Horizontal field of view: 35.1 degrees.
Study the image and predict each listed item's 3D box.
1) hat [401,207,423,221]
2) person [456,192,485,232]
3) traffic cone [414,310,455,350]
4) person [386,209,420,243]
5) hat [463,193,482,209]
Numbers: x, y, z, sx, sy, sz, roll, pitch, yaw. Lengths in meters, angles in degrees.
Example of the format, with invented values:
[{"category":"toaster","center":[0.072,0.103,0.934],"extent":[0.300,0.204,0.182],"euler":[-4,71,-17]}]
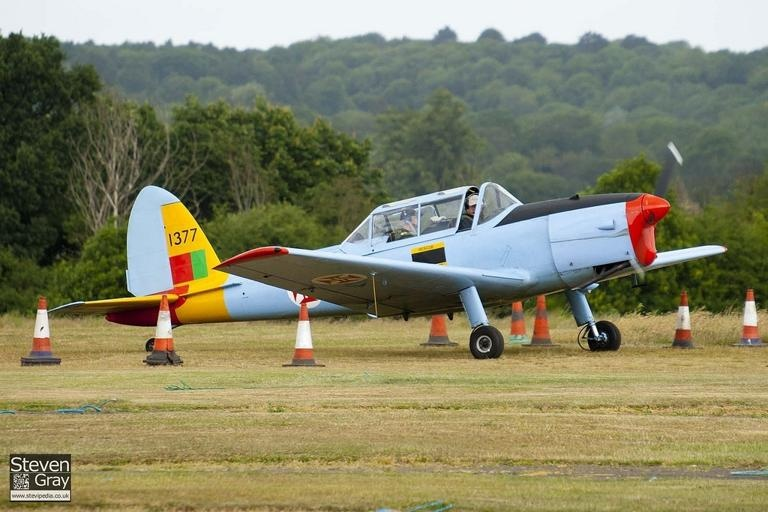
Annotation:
[{"category":"hat","center":[0.618,-0.952,27.106],"extent":[0.372,0.247,0.294],"euler":[6,2,44]},{"category":"person","center":[1.871,-0.982,27.028],"extent":[0.663,0.737,0.459],"euler":[12,-7,11]},{"category":"traffic cone","center":[1.252,1.832,29.367],"extent":[0.890,0.812,0.813],"euler":[0,1,21]},{"category":"person","center":[0.418,-0.673,27.117],"extent":[0.740,0.260,1.157],"euler":[-15,13,2]},{"category":"hat","center":[1.959,-1.214,26.794],"extent":[0.298,0.328,0.156],"euler":[1,-13,3]}]
